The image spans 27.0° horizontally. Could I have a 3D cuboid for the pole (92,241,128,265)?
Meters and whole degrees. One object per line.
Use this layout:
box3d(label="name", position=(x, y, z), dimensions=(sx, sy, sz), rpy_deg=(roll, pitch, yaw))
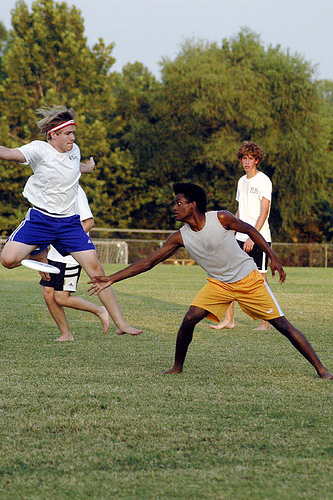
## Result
box3d(label="pole", position=(-1.498, 0.094, 19.226), dimensions=(0.815, 0.426, 0.041), rpy_deg=(3, 8, 18))

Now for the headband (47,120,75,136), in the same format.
box3d(label="headband", position=(-0.763, -0.915, 5.206), dimensions=(0.234, 0.128, 0.101), rpy_deg=(-2, 3, -38))

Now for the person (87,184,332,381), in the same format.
box3d(label="person", position=(0.314, 0.186, 4.355), dimensions=(1.369, 1.183, 0.432), rpy_deg=(0, 3, 2))
